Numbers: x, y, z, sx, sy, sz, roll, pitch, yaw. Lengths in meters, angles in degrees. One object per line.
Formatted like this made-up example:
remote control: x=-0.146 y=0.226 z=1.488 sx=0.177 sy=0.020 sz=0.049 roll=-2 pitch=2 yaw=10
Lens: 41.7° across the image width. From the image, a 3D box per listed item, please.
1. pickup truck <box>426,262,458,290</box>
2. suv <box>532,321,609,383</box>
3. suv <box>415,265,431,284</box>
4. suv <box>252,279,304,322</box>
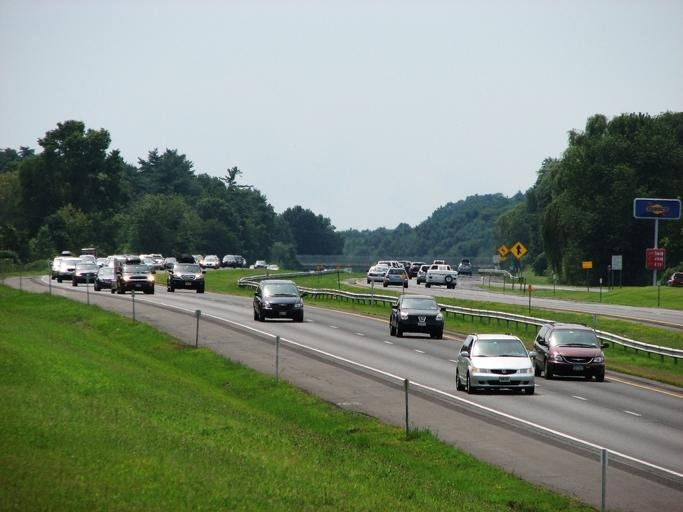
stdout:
pickup truck: x=9.586 y=2.112 z=86.091 sx=2.656 sy=2.094 sz=3.329 roll=3 pitch=4 yaw=3
suv: x=8.494 y=3.713 z=33.976 sx=1.833 sy=1.497 sz=3.092 roll=2 pitch=-8 yaw=0
suv: x=8.526 y=2.064 z=93.031 sx=1.522 sy=1.633 sz=3.684 roll=1 pitch=4 yaw=4
suv: x=-3.297 y=2.580 z=47.385 sx=2.318 sy=2.047 sz=1.686 roll=1 pitch=4 yaw=-24
